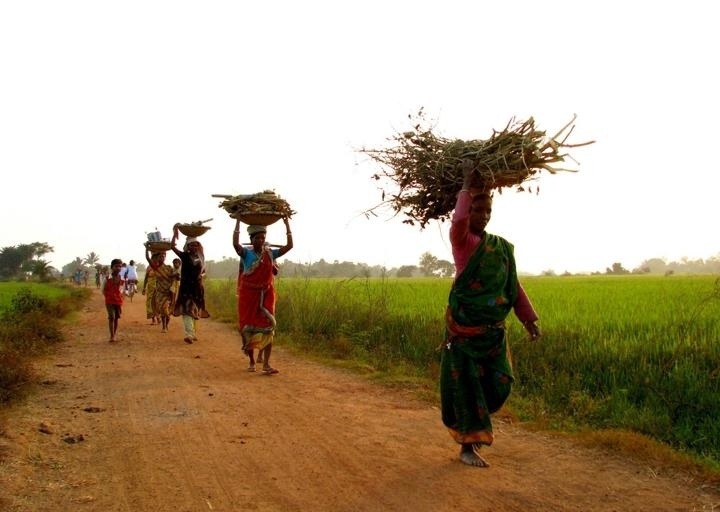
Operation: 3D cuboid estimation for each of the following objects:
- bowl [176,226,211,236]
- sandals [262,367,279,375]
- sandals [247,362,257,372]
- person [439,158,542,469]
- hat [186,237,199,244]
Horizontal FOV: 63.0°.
[{"bbox_3d":[-3.363,-0.510,11.958,0.498,0.283,0.547,3,8,0],"label":"bowl"},{"bbox_3d":[-1.474,1.907,9.778,0.232,0.103,0.091,-5,7,11],"label":"sandals"},{"bbox_3d":[-1.840,1.883,9.977,0.105,0.132,0.319,0,-12,-8],"label":"sandals"},{"bbox_3d":[1.402,0.529,6.726,0.855,3.185,0.674,5,9,15],"label":"person"},{"bbox_3d":[-3.534,-0.333,12.323,0.222,0.144,0.178,1,8,-10],"label":"hat"}]
